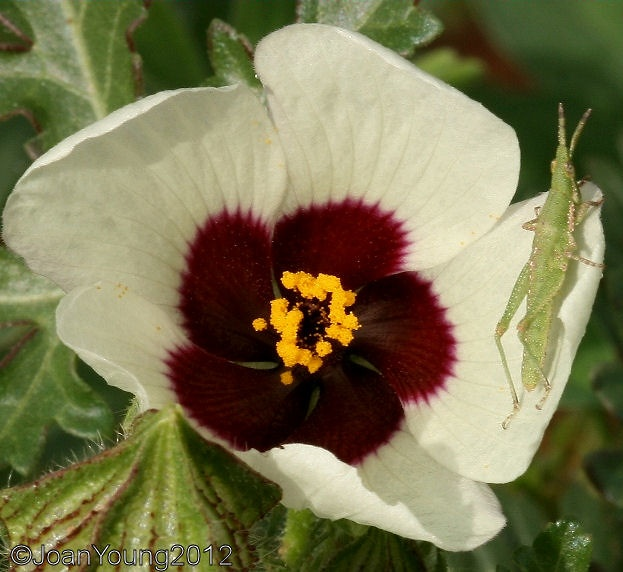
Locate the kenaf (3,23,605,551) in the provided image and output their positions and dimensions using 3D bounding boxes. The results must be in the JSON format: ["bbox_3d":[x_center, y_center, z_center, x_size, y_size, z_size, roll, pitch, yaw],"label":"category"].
[{"bbox_3d":[0.003,-0.015,1.342,0.691,0.727,0.841,7,101,32],"label":"kenaf"}]

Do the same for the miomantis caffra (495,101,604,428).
[{"bbox_3d":[0.376,-0.041,1.262,0.119,0.143,0.544,19,70,6],"label":"miomantis caffra"}]
